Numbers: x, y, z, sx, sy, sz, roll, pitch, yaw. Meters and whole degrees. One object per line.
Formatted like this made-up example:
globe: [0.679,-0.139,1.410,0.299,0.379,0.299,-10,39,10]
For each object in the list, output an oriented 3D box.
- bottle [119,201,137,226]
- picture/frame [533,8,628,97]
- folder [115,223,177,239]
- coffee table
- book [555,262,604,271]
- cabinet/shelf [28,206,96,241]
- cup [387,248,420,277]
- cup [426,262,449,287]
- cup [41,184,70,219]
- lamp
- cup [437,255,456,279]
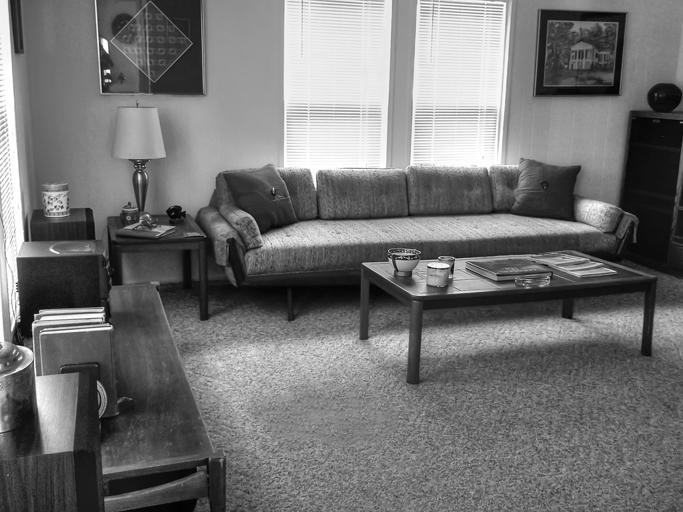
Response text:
bottle: [-1.546,-0.319,4.007,0.153,0.197,0.201,0,4,-8]
picture/frame: [2.212,-1.956,5.109,0.926,0.726,0.038,-2,9,-17]
folder: [-1.326,-0.176,3.691,0.314,0.071,0.268,1,15,11]
coffee table: [0.985,0.291,3.376,1.682,0.645,0.766,-6,15,-14]
book: [1.499,0.065,3.421,0.126,0.018,0.129,-5,11,-9]
cabinet/shelf: [-1.755,-0.193,3.419,0.314,0.187,0.307,-1,8,-17]
cup: [0.360,0.026,3.256,0.173,0.116,0.174,2,9,0]
cup: [0.538,0.103,3.075,0.126,0.107,0.129,1,10,0]
cup: [-1.820,-0.365,3.545,0.227,0.236,0.221,1,7,0]
lamp: [-1.517,-0.727,4.007,0.337,0.818,0.550,-14,19,-36]
cup: [0.642,0.069,3.239,0.122,0.134,0.129,0,8,0]
